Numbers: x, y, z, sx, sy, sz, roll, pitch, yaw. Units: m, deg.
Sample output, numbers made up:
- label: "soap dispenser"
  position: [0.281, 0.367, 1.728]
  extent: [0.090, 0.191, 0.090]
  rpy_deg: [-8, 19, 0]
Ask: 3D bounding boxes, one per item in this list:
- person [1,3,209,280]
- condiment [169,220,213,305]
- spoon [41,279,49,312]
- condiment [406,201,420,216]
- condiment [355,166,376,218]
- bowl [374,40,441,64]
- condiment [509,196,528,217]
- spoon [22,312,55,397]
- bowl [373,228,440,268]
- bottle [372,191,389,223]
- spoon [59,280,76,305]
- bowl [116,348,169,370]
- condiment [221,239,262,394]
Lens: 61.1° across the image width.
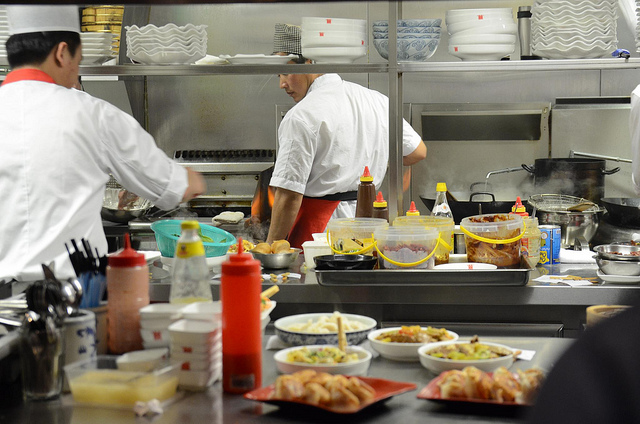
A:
- label: "person"
  position: [-1.037, -0.329, 2.424]
  extent: [0.735, 1.156, 0.334]
  rpy_deg: [-3, 10, -19]
- label: "condiment"
  position: [-0.353, 0.132, 1.461]
  extent: [0.111, 0.228, 0.089]
  rpy_deg: [-2, 10, -16]
- label: "spoon"
  position: [-0.669, 0.201, 1.315]
  extent: [0.015, 0.062, 0.065]
  rpy_deg: [-5, 11, -27]
- label: "condiment"
  position: [0.404, -0.019, 2.390]
  extent: [0.064, 0.067, 0.063]
  rpy_deg: [1, 2, 4]
- label: "condiment"
  position: [0.209, -0.091, 2.425]
  extent: [0.085, 0.229, 0.155]
  rpy_deg: [1, 10, 5]
- label: "bowl"
  position: [0.402, -0.707, 2.483]
  extent: [0.214, 0.078, 0.210]
  rpy_deg: [-1, 5, 0]
- label: "condiment"
  position: [0.896, -0.029, 2.401]
  extent: [0.086, 0.090, 0.084]
  rpy_deg: [-2, 5, 1]
- label: "spoon"
  position: [-0.672, 0.345, 1.295]
  extent: [0.063, 0.193, 0.015]
  rpy_deg: [1, 10, 2]
- label: "bowl"
  position: [0.321, 0.113, 2.050]
  extent: [0.181, 0.099, 0.171]
  rpy_deg: [0, 2, 0]
- label: "bottle"
  position: [0.275, -0.020, 2.433]
  extent: [0.072, 0.143, 0.222]
  rpy_deg: [2, 10, 7]
- label: "spoon"
  position: [-0.625, 0.199, 1.338]
  extent: [0.043, 0.040, 0.025]
  rpy_deg: [29, 56, 28]
- label: "bowl"
  position: [-0.440, 0.365, 1.343]
  extent: [0.118, 0.034, 0.058]
  rpy_deg: [-2, 10, -15]
- label: "condiment"
  position: [-0.198, 0.267, 1.377]
  extent: [0.105, 0.350, 0.107]
  rpy_deg: [-1, 0, -15]
